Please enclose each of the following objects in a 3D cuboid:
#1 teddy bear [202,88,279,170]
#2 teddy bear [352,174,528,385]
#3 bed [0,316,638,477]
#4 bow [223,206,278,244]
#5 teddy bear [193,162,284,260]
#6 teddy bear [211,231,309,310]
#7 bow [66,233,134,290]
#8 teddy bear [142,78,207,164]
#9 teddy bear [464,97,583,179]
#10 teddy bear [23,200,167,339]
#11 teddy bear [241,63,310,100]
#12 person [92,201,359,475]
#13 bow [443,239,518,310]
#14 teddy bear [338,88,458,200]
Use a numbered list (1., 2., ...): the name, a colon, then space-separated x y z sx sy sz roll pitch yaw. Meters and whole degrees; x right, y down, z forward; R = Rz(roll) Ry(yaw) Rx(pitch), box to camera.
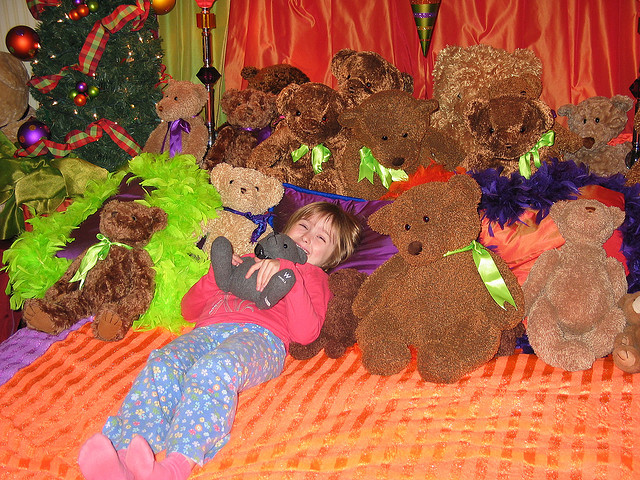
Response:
1. teddy bear: -0.426 -0.558 3.031 0.419 0.527 0.308 3 14 -11
2. teddy bear: 0.454 0.163 2.004 0.601 0.649 0.465 -2 23 38
3. bed: -0.018 0.549 1.891 2.156 0.248 0.660 -4 31 10
4. bow: -0.295 -0.074 2.457 0.170 0.075 0.169 -1 56 -51
5. teddy bear: -0.353 -0.095 2.427 0.328 0.406 0.303 10 9 -16
6. teddy bear: -0.231 0.130 2.186 0.223 0.132 0.228 20 62 22
7. bow: -0.914 0.079 2.322 0.193 0.075 0.227 33 73 5
8. teddy bear: -0.833 -0.697 3.235 0.392 0.402 0.312 7 34 26
9. teddy bear: 0.878 -0.444 2.465 0.401 0.290 0.226 -10 38 28
10. teddy bear: -0.915 0.100 2.267 0.457 0.579 0.387 7 -4 -8
11. teddy bear: -0.255 -0.901 3.101 0.278 0.165 0.282 0 68 14
12. person: -0.317 0.320 2.045 0.421 0.415 1.047 12 37 24
13. bow: 0.595 0.119 1.994 0.130 0.328 0.059 -18 -6 13
14. teddy bear: 0.326 -0.408 2.421 0.412 0.423 0.258 -16 37 9
